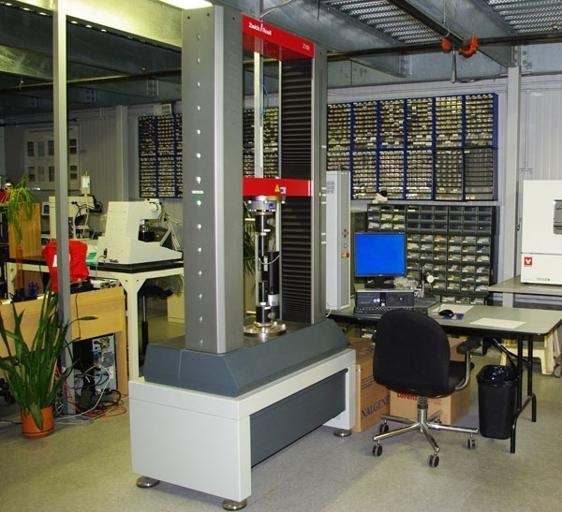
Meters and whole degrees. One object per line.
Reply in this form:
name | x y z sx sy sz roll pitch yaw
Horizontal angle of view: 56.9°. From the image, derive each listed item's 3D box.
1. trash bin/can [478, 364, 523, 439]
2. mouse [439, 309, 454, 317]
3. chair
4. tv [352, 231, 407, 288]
trash bin/can | 1.441 0.992 3.461 0.255 0.470 0.372 1 4 25
mouse | 1.182 0.400 3.716 0.064 0.021 0.048 7 19 34
chair | 0.882 0.760 3.328 0.676 0.975 0.610 -8 10 -22
tv | 0.774 0.021 4.043 0.387 0.441 0.137 0 -2 -2
